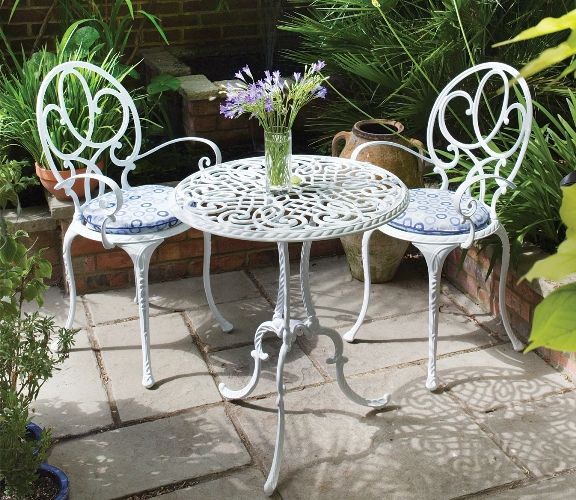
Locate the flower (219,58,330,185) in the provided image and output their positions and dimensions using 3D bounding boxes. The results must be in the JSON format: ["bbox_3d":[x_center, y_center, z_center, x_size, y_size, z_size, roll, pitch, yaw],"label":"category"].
[{"bbox_3d":[-0.032,-0.411,2.069,0.407,0.383,0.409,-13,16,-32],"label":"flower"}]
